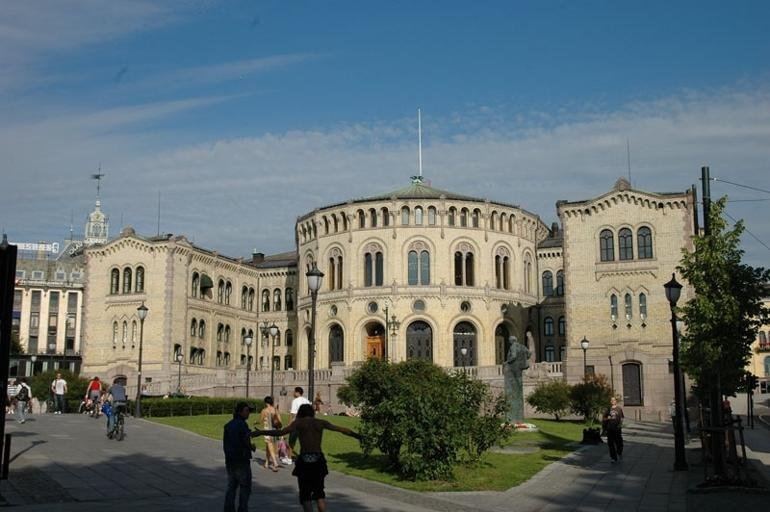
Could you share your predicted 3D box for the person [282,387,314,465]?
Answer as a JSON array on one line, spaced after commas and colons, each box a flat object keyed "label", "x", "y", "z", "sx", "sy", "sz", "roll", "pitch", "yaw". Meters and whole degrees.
[{"label": "person", "x": -3.796, "y": 6.873, "z": 37.312, "sx": 1.099, "sy": 2.947, "sz": 1.032, "roll": 9, "pitch": -5, "yaw": 7}]

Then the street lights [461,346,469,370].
[{"label": "street lights", "x": 6.947, "y": 8.716, "z": 80.573, "sx": 0.592, "sy": 1.622, "sz": 0.947, "roll": -1, "pitch": -9, "yaw": 5}]

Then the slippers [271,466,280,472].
[{"label": "slippers", "x": -4.275, "y": 8.343, "z": 35.960, "sx": 0.227, "sy": 0.231, "sz": 0.212, "roll": -6, "pitch": -4, "yaw": 3}]
